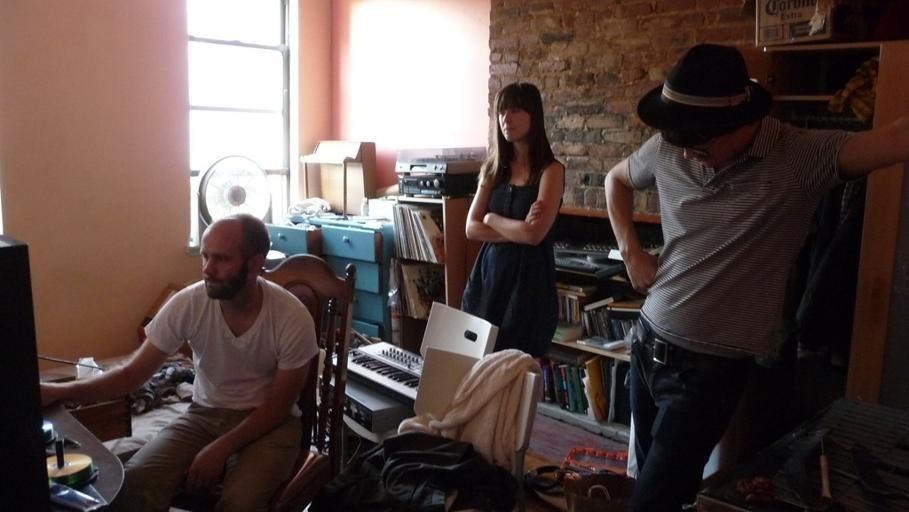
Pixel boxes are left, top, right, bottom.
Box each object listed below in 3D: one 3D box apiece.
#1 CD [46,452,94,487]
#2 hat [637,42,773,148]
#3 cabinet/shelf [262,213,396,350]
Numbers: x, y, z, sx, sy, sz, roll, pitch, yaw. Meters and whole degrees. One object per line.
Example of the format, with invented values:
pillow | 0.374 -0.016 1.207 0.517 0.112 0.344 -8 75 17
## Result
CD | -1.405 0.780 2.339 0.144 0.083 0.152 -9 15 -32
hat | 0.969 -0.612 2.531 0.474 0.401 0.185 23 -10 28
cabinet/shelf | -0.880 0.195 5.489 1.281 1.018 0.718 12 21 39
